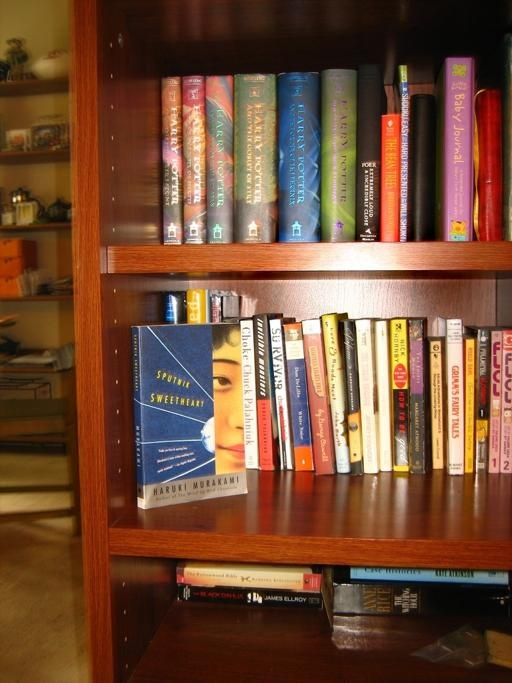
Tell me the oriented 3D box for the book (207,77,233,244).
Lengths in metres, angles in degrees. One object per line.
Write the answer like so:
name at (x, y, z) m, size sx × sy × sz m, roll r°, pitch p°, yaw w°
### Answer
book at (-0.054, -0.261, 0.903) m, size 0.046 × 0.190 × 0.138 m, roll 3°, pitch 5°, yaw -2°
